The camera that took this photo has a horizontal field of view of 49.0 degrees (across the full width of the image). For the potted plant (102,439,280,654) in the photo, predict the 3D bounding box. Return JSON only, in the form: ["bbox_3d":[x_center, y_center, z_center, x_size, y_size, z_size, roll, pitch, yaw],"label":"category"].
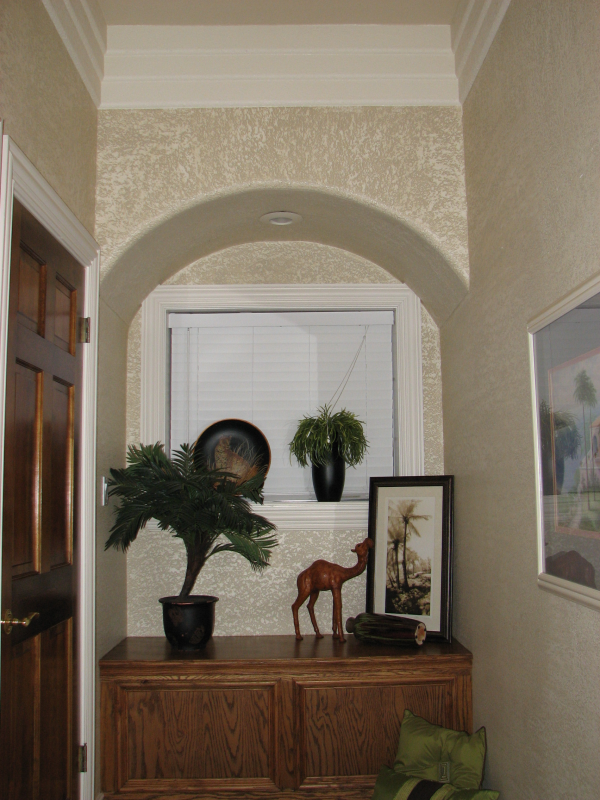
[{"bbox_3d":[-0.460,0.434,2.545,0.512,0.938,0.378,1,0,-5],"label":"potted plant"}]
